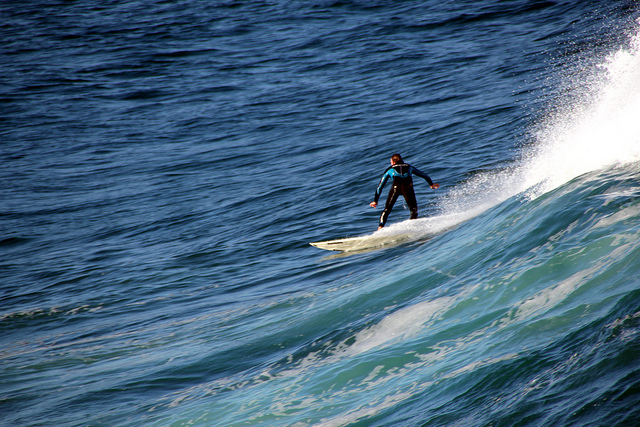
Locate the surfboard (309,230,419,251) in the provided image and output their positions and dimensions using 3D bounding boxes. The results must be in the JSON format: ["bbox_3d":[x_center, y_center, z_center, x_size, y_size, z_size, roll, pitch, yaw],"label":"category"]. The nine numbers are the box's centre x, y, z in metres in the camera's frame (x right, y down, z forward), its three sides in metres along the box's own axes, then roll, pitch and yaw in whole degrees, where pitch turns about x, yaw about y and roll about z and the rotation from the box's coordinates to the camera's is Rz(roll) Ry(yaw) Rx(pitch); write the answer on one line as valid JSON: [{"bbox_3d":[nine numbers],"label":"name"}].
[{"bbox_3d":[1.642,0.943,30.917,5.170,0.281,0.773,-6,-22,28],"label":"surfboard"}]
